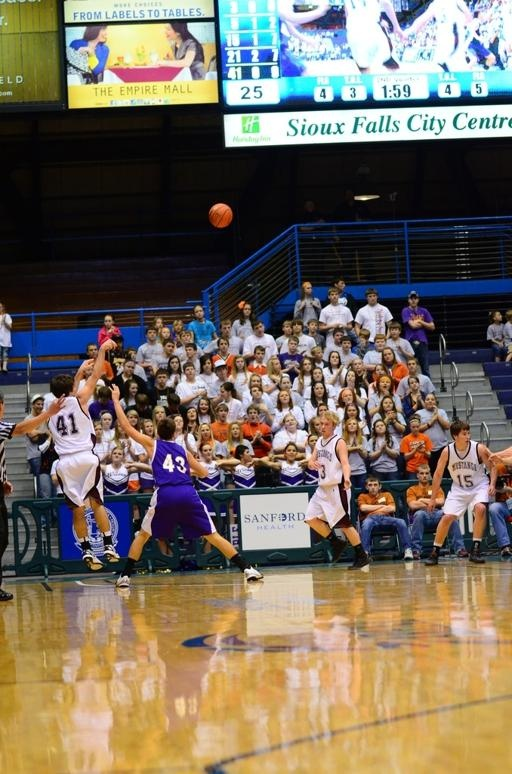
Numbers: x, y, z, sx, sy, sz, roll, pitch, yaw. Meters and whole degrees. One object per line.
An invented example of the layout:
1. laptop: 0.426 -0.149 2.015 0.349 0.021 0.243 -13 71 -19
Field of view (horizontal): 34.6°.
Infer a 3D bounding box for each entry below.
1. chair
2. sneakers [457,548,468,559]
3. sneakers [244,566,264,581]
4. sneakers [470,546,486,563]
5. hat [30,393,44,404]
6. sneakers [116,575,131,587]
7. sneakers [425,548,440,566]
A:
1. chair: 2.223 1.750 10.485 1.787 0.815 0.732 -3 -1 5
2. sneakers: 2.616 2.105 10.418 0.151 0.110 0.189 2 4 -10
3. sneakers: -0.014 1.856 8.099 0.175 0.130 0.368 8 -4 6
4. sneakers: 2.613 1.993 9.736 0.171 0.172 0.174 -4 -1 14
5. hat: -3.114 0.153 11.770 0.249 0.106 0.342 0 -2 -9
6. sneakers: -1.384 2.002 8.523 0.077 0.089 0.205 2 -2 -8
7. sneakers: 2.073 2.016 9.724 0.116 0.211 0.326 -1 -15 18
